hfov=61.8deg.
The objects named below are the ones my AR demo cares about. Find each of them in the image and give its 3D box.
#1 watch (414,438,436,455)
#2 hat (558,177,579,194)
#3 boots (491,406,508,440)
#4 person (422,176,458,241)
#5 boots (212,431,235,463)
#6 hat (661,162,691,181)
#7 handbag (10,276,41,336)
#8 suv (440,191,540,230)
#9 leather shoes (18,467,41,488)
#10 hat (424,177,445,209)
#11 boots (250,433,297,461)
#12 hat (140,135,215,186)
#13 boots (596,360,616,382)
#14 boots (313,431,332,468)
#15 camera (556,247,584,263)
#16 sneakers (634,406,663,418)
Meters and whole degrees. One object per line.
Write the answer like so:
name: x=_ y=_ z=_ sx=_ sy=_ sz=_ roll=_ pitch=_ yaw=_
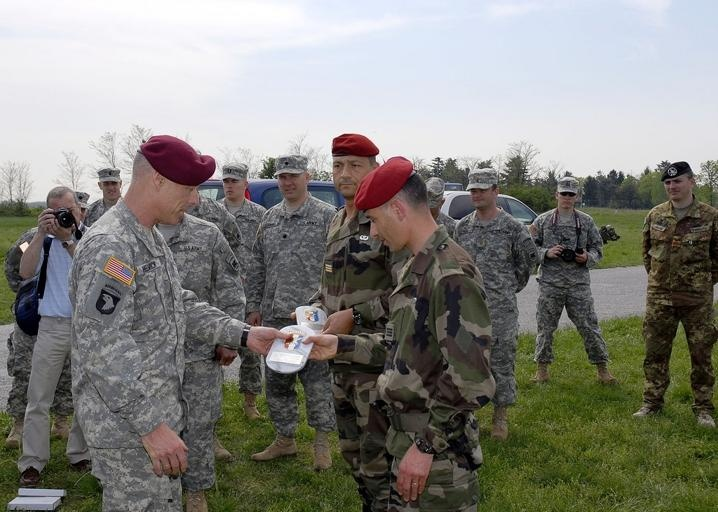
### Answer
watch: x=0.395 y=1.146 z=3.565 sx=0.118 sy=0.072 sz=0.043 roll=36 pitch=9 yaw=18
hat: x=2.808 y=-0.924 z=8.043 sx=0.218 sy=0.167 sz=0.325 roll=11 pitch=-4 yaw=15
boots: x=1.490 y=1.739 z=6.361 sx=0.178 sy=0.319 sz=0.449 roll=-2 pitch=4 yaw=20
person: x=1.038 y=-0.656 z=7.737 sx=0.546 sy=0.521 sz=0.961 roll=-2 pitch=-3 yaw=21
boots: x=-1.395 y=1.889 z=5.904 sx=0.388 sy=0.272 sz=0.135 roll=-2 pitch=-5 yaw=31
hat: x=3.488 y=-0.916 z=6.577 sx=0.261 sy=0.208 sz=0.233 roll=5 pitch=12 yaw=26
handbag: x=-3.093 y=0.497 z=5.596 sx=0.243 sy=0.612 sz=0.392 roll=-7 pitch=12 yaw=-30
suv: x=2.946 y=-1.134 z=13.616 sx=2.268 sy=1.145 sz=1.272 roll=-10 pitch=10 yaw=-30
leather shoes: x=-2.871 y=1.930 z=5.222 sx=0.188 sy=0.184 sz=0.114 roll=8 pitch=-16 yaw=-7
hat: x=0.963 y=-0.873 z=7.642 sx=0.378 sy=0.527 sz=0.210 roll=0 pitch=-10 yaw=6
boots: x=-0.867 y=1.883 z=5.928 sx=0.480 sy=0.325 sz=0.183 roll=5 pitch=-7 yaw=-9
hat: x=-1.234 y=-0.642 z=3.923 sx=0.614 sy=0.215 sz=0.448 roll=3 pitch=23 yaw=-28
boots: x=3.181 y=1.482 z=7.691 sx=0.229 sy=0.245 sz=0.233 roll=3 pitch=11 yaw=17
boots: x=-0.352 y=1.879 z=5.826 sx=0.129 sy=0.157 sz=0.375 roll=-4 pitch=2 yaw=-1
camera: x=2.726 y=0.000 z=7.703 sx=0.291 sy=0.193 sz=0.113 roll=2 pitch=11 yaw=11
sneakers: x=3.213 y=1.732 z=6.712 sx=0.371 sy=0.153 sz=0.123 roll=3 pitch=-6 yaw=-8
